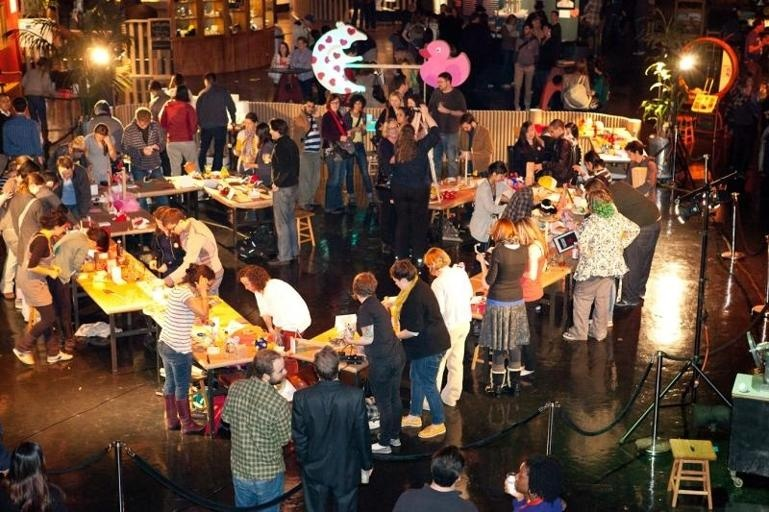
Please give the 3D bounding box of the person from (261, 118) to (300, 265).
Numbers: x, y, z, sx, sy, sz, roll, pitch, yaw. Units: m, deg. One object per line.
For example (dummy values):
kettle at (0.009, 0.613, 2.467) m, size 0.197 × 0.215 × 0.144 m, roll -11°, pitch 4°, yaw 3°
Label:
person at (-1.809, -1.127, 12.142) m, size 0.500 × 2.643 × 0.698 m, roll -5°, pitch 11°, yaw -10°

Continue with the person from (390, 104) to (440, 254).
person at (0.504, -1.058, 11.724) m, size 0.788 × 2.441 × 0.940 m, roll -3°, pitch 11°, yaw -3°

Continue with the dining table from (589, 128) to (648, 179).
dining table at (4.781, -2.105, 13.862) m, size 0.832 × 0.480 × 2.039 m, roll 4°, pitch 38°, yaw 8°

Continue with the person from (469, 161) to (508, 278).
person at (1.680, -0.551, 10.837) m, size 0.753 × 2.137 × 0.755 m, roll 5°, pitch 59°, yaw 10°

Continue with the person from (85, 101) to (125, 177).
person at (-6.010, -2.608, 14.202) m, size 0.741 × 1.300 × 0.874 m, roll 28°, pitch 33°, yaw 24°

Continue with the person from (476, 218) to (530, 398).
person at (1.563, 0.693, 8.732) m, size 0.630 × 2.351 × 0.633 m, roll 0°, pitch 11°, yaw 13°

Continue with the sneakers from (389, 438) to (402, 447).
sneakers at (0.127, 2.211, 7.951) m, size 0.066 × 0.058 × 0.146 m, roll -11°, pitch 17°, yaw -35°

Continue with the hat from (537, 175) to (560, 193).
hat at (2.936, -1.357, 12.134) m, size 0.361 × 0.144 × 0.363 m, roll 30°, pitch 9°, yaw -19°

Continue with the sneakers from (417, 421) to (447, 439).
sneakers at (0.581, 2.124, 8.267) m, size 0.335 × 0.131 × 0.152 m, roll -5°, pitch 16°, yaw -19°

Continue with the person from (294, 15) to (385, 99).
person at (-0.773, -3.524, 11.890) m, size 0.977 × 1.216 × 0.569 m, roll 4°, pitch 13°, yaw 29°

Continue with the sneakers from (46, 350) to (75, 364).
sneakers at (-4.759, 1.488, 9.803) m, size 0.389 × 0.163 × 0.151 m, roll -7°, pitch 15°, yaw -17°

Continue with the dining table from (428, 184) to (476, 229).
dining table at (1.221, -1.086, 13.007) m, size 0.692 × 0.406 × 1.681 m, roll 14°, pitch 34°, yaw 20°

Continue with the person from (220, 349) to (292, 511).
person at (-1.219, 1.678, 6.383) m, size 0.617 × 1.530 × 0.298 m, roll -6°, pitch 11°, yaw -16°

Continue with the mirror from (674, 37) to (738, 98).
mirror at (7.777, -4.585, 16.152) m, size 1.135 × 1.576 × 5.361 m, roll 2°, pitch 13°, yaw 23°

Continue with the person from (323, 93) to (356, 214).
person at (-1.078, -2.183, 14.589) m, size 0.624 × 2.516 × 0.715 m, roll -6°, pitch 12°, yaw -19°

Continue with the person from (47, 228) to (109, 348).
person at (-4.563, 0.450, 9.858) m, size 0.758 × 1.749 × 0.580 m, roll -14°, pitch 57°, yaw -37°

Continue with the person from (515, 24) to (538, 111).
person at (4.363, -5.797, 20.604) m, size 0.736 × 2.509 × 1.282 m, roll -1°, pitch 11°, yaw 8°

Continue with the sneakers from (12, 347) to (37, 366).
sneakers at (-5.260, 1.458, 9.692) m, size 0.301 × 0.129 × 0.111 m, roll 29°, pitch 19°, yaw 2°

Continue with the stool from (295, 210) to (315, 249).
stool at (-1.613, -0.503, 13.207) m, size 0.482 × 0.681 × 0.479 m, roll -12°, pitch 31°, yaw -22°

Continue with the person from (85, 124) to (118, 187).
person at (-5.555, -1.952, 12.985) m, size 0.537 × 1.179 × 0.586 m, roll -7°, pitch 12°, yaw -23°

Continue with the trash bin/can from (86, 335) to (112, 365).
trash bin/can at (-4.315, 1.376, 10.069) m, size 0.400 × 0.169 × 0.403 m, roll 15°, pitch 15°, yaw 25°

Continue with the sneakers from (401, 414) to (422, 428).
sneakers at (0.333, 2.072, 8.380) m, size 0.287 × 0.124 × 0.137 m, roll 3°, pitch 11°, yaw -2°

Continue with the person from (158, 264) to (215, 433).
person at (-2.458, 1.156, 8.268) m, size 0.741 × 2.079 × 0.758 m, roll -4°, pitch 11°, yaw -6°

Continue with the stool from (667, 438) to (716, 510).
stool at (3.374, 2.353, 7.328) m, size 0.474 × 0.706 × 0.422 m, roll 0°, pitch 11°, yaw 13°

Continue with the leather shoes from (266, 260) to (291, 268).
leather shoes at (-2.009, 0.150, 12.514) m, size 0.442 × 0.178 × 0.159 m, roll 0°, pitch 8°, yaw -1°

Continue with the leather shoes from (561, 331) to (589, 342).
leather shoes at (2.922, 1.226, 10.235) m, size 0.320 × 0.128 × 0.164 m, roll 1°, pitch 11°, yaw 18°

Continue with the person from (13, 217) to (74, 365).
person at (-4.919, 0.507, 9.628) m, size 0.998 × 2.483 × 0.833 m, roll -9°, pitch 38°, yaw -38°

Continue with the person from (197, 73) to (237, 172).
person at (-3.962, -3.119, 15.540) m, size 0.840 × 2.423 × 0.660 m, roll -3°, pitch 48°, yaw -18°

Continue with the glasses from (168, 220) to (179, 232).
glasses at (-2.967, -0.409, 9.334) m, size 0.146 × 0.117 × 0.120 m, roll -9°, pitch 30°, yaw -28°
